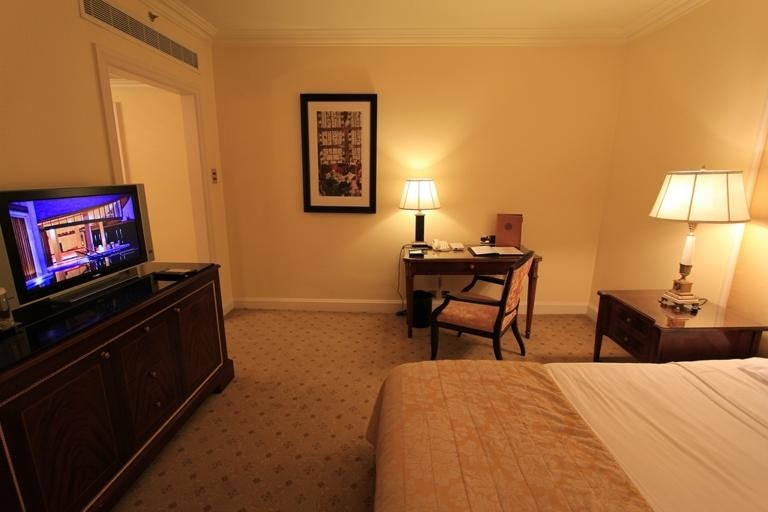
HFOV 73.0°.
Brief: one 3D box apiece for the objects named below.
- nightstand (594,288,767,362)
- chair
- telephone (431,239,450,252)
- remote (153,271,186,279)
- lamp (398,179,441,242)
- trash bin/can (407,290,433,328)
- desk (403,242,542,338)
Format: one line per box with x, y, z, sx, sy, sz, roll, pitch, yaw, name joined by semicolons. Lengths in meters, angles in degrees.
2.234;0.521;4.006;0.639;0.584;0.787;0;14;2;nightstand
0.921;0.461;4.827;0.789;1.013;0.731;11;18;32;chair
0.586;-0.106;5.279;0.115;0.124;0.148;-1;4;-7;telephone
-1.615;0.144;3.942;0.117;0.028;0.115;1;7;-1;remote
0.357;-0.452;5.187;0.568;0.747;0.566;-1;18;-1;lamp
0.425;0.537;5.466;0.313;0.453;0.346;1;9;8;trash bin/can
0.910;0.354;5.308;1.258;0.818;0.645;1;9;14;desk
